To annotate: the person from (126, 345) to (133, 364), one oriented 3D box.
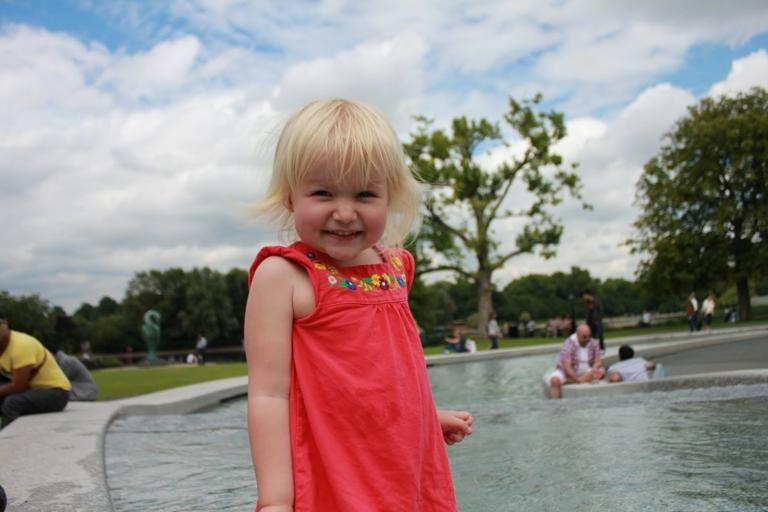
[{"bbox_3d":[-9.448,3.623,26.090,0.241,0.615,0.964,1,-3,-20],"label":"person"}]
